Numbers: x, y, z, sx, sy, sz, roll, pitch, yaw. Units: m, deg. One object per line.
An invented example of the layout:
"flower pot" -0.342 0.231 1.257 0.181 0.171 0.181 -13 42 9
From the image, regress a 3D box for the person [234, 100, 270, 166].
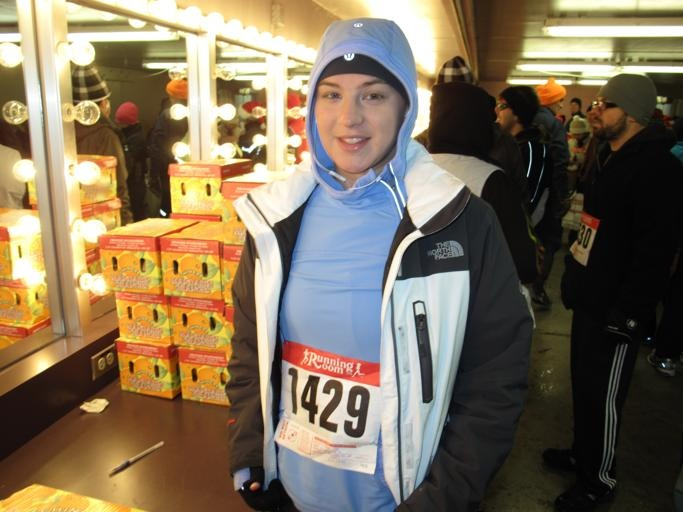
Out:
"person" -0.870 -1.153 4.833 0.310 0.365 0.845 -7 39 -2

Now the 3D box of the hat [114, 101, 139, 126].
"hat" -1.397 -0.922 3.348 0.104 0.139 0.142 25 20 -11

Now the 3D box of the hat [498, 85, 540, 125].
"hat" 1.243 -1.055 3.631 0.235 0.316 0.229 -25 13 24

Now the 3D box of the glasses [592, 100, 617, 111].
"glasses" 1.334 -0.756 2.608 0.069 0.023 0.071 11 12 4

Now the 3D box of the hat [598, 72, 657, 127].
"hat" 1.456 -0.811 2.632 0.294 0.253 0.285 9 20 7
